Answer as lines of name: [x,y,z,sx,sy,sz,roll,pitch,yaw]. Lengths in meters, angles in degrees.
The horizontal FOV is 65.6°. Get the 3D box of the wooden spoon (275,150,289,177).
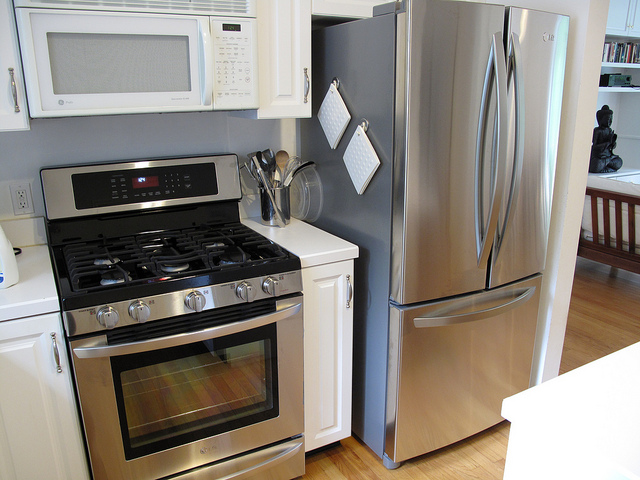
wooden spoon: [-0.189,-0.394,2.517,0.064,0.109,0.120,-5,21,-2]

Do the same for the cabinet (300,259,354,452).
cabinet: [-0.009,0.546,2.419,0.238,0.928,0.295,-5,20,-24]

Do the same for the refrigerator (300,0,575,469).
refrigerator: [0.588,0.013,2.410,1.162,2.140,0.673,-6,20,-5]
